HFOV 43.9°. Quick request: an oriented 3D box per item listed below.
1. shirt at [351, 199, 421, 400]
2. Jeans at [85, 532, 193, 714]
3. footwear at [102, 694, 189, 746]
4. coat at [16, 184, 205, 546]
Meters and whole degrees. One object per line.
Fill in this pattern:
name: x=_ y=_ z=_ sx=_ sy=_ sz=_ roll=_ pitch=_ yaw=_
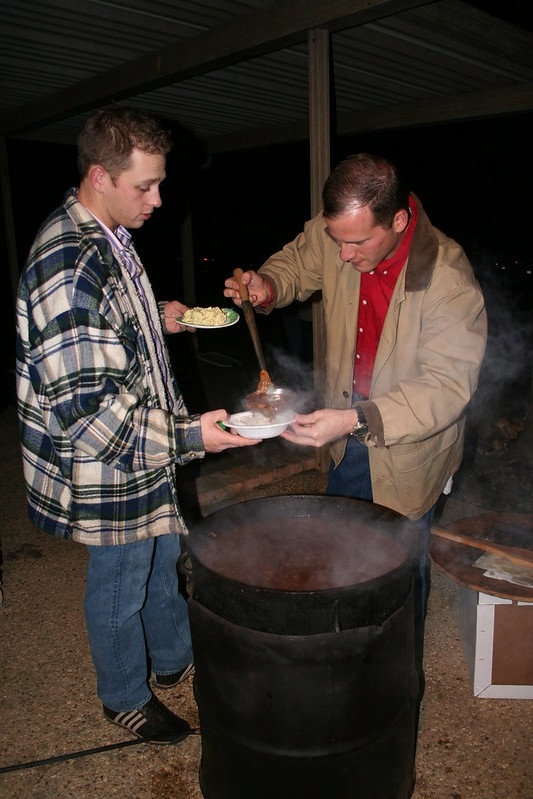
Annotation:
shirt: x=0.453 y=-0.364 z=2.678 sx=0.318 sy=0.655 sz=0.117 roll=20 pitch=24 yaw=25
Jeans: x=-0.488 y=0.841 z=2.506 sx=0.252 sy=0.939 sz=0.375 roll=14 pitch=40 yaw=17
footwear: x=-0.451 y=1.253 z=2.624 sx=0.364 sy=0.140 sz=0.143 roll=8 pitch=-4 yaw=13
coat: x=-0.517 y=0.017 z=2.151 sx=0.568 sy=1.305 sz=0.593 roll=-15 pitch=24 yaw=-28
